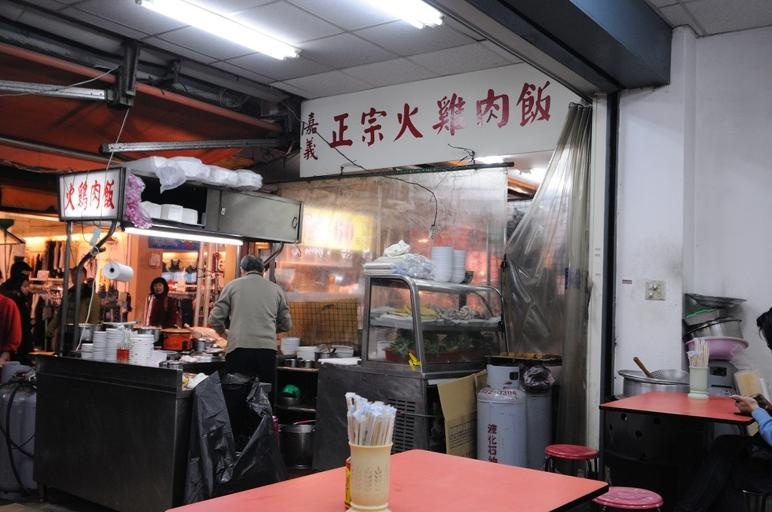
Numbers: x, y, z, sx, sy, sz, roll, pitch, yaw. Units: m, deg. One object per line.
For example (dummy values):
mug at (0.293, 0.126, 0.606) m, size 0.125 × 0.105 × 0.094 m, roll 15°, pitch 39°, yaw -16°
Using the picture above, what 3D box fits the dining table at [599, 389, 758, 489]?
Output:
dining table at (2.194, 1.451, 4.518) m, size 0.956 × 0.871 × 0.899 m, roll 1°, pitch 3°, yaw 30°

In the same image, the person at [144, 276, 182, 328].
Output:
person at (-3.190, 0.662, 8.274) m, size 0.437 × 0.693 × 0.324 m, roll 4°, pitch -5°, yaw -22°

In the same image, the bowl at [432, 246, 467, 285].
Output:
bowl at (0.654, 0.100, 6.177) m, size 0.401 × 0.346 × 0.399 m, roll 3°, pitch -3°, yaw 0°

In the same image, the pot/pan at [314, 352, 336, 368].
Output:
pot/pan at (-0.697, 1.149, 6.528) m, size 0.256 × 0.205 × 0.192 m, roll 0°, pitch -5°, yaw 16°

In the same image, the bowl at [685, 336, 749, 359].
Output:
bowl at (2.871, 0.770, 4.956) m, size 0.317 × 0.098 × 0.307 m, roll 7°, pitch -15°, yaw 2°

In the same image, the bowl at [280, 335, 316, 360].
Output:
bowl at (-1.058, 1.107, 6.923) m, size 0.375 × 0.138 × 0.253 m, roll 1°, pitch -6°, yaw -2°

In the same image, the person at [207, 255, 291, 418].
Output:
person at (-1.402, 0.819, 6.012) m, size 0.569 × 1.616 × 0.612 m, roll 2°, pitch -3°, yaw -15°

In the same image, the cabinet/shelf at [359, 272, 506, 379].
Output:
cabinet/shelf at (0.472, 0.362, 6.036) m, size 0.959 × 1.076 × 1.793 m, roll -8°, pitch -11°, yaw 43°

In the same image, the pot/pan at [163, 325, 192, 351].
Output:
pot/pan at (-2.424, 0.957, 6.776) m, size 0.291 × 0.191 × 0.287 m, roll 3°, pitch -2°, yaw -38°

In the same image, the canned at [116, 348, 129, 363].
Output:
canned at (-2.436, 0.908, 5.352) m, size 0.101 × 0.108 × 0.162 m, roll 4°, pitch -5°, yaw -29°
